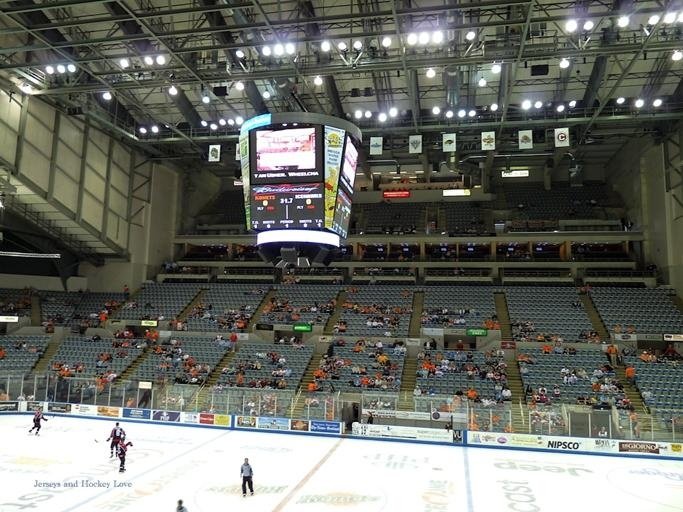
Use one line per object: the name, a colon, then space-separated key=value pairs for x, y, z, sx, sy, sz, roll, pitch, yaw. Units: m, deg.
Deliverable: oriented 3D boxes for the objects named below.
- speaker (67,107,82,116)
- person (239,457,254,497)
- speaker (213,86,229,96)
speaker: x=-18.676 y=-10.167 z=38.132 sx=1.283 sy=0.451 sz=0.582 roll=0 pitch=-3 yaw=33
person: x=-3.661 y=8.566 z=21.187 sx=0.485 sy=1.405 sz=0.792 roll=2 pitch=-3 yaw=-8
speaker: x=-7.148 y=-9.793 z=32.084 sx=0.966 sy=0.190 sz=0.891 roll=2 pitch=-17 yaw=-8
